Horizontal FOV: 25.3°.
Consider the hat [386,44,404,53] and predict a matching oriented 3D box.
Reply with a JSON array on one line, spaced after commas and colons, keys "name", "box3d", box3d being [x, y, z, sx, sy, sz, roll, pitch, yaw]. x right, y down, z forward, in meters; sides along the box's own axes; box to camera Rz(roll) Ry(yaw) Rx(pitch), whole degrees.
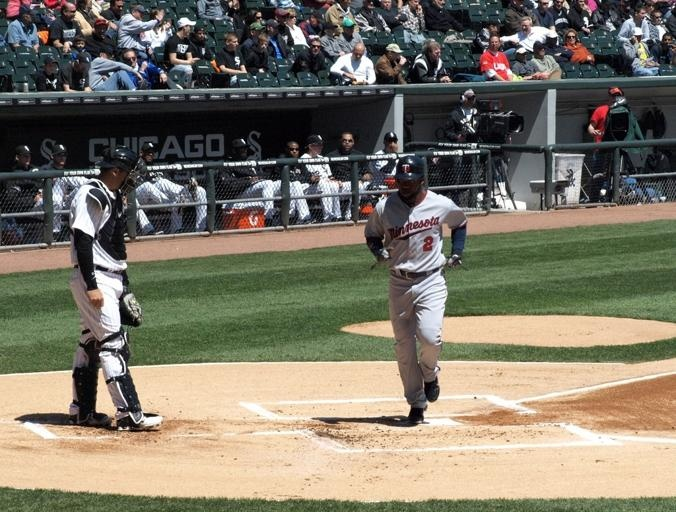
[{"name": "hat", "box3d": [0.996, -3.713, 27.028, 0.264, 0.132, 0.182, 0, 15, -3]}]

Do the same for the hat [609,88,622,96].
[{"name": "hat", "box3d": [4.915, -2.911, 26.771, 0.217, 0.133, 0.353, -1, 5, 7]}]

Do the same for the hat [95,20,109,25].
[{"name": "hat", "box3d": [-3.929, -3.850, 24.829, 0.191, 0.111, 0.193, -3, 5, -13]}]

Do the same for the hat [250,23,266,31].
[{"name": "hat", "box3d": [-1.449, -4.036, 26.556, 0.232, 0.077, 0.151, 7, 18, 40]}]

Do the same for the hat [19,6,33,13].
[{"name": "hat", "box3d": [-5.245, -4.136, 25.379, 0.122, 0.128, 0.328, 0, 5, 18]}]

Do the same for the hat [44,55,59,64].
[{"name": "hat", "box3d": [-4.765, -3.237, 24.814, 0.198, 0.144, 0.279, -3, 8, -42]}]

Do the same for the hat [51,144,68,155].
[{"name": "hat", "box3d": [-4.441, -1.664, 23.805, 0.192, 0.161, 0.257, -4, 6, -21]}]

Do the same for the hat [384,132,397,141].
[{"name": "hat", "box3d": [0.886, -2.036, 25.776, 0.210, 0.141, 0.292, -2, 5, 0]}]

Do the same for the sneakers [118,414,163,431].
[{"name": "sneakers", "box3d": [-2.092, 1.750, 15.974, 0.503, 0.224, 0.183, -4, 4, -3]}]

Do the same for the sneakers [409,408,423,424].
[{"name": "sneakers", "box3d": [0.828, 1.733, 16.202, 0.183, 0.178, 0.131, 0, 3, 20]}]

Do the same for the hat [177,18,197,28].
[{"name": "hat", "box3d": [-2.594, -4.039, 26.034, 0.371, 0.130, 0.245, -9, 15, -16]}]

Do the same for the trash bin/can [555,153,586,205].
[{"name": "trash bin/can", "box3d": [4.093, -1.399, 26.596, 0.598, 0.991, 0.597, 2, 38, 6]}]

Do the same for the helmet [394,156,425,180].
[{"name": "helmet", "box3d": [0.762, -0.940, 16.120, 0.307, 0.261, 0.227, -2, 5, -4]}]

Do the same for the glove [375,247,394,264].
[{"name": "glove", "box3d": [0.475, 0.011, 16.136, 0.168, 0.122, 0.066, -23, -26, 38]}]

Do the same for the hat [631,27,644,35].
[{"name": "hat", "box3d": [6.007, -4.500, 30.241, 0.180, 0.116, 0.228, -3, 19, -2]}]

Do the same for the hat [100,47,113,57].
[{"name": "hat", "box3d": [-3.860, -3.378, 25.008, 0.301, 0.150, 0.204, -5, 6, -34]}]

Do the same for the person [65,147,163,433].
[{"name": "person", "box3d": [-2.464, 0.364, 15.902, 0.866, 2.999, 0.535, -3, 5, -11]}]

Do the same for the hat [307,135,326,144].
[{"name": "hat", "box3d": [-0.455, -1.949, 25.557, 0.248, 0.129, 0.199, -15, -3, 40]}]

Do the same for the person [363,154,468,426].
[{"name": "person", "box3d": [0.830, 0.360, 16.292, 1.043, 2.883, 0.588, -2, 5, 1]}]

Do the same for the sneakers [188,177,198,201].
[{"name": "sneakers", "box3d": [-2.354, -1.093, 24.301, 0.089, 0.287, 0.214, 13, 37, 22]}]

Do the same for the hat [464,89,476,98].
[{"name": "hat", "box3d": [2.325, -2.915, 26.995, 0.148, 0.066, 0.168, -2, 45, 5]}]

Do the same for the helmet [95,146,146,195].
[{"name": "helmet", "box3d": [-2.345, -0.930, 16.002, 0.518, 0.461, 0.431, -9, 18, -18]}]

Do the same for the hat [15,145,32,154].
[{"name": "hat", "box3d": [-5.007, -1.658, 23.676, 0.257, 0.124, 0.201, -4, 5, 43]}]

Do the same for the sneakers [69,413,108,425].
[{"name": "sneakers", "box3d": [-2.671, 1.771, 16.068, 0.404, 0.176, 0.151, -2, 13, -5]}]

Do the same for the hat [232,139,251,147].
[{"name": "hat", "box3d": [-1.729, -1.892, 25.478, 0.283, 0.129, 0.201, -8, 5, 36]}]

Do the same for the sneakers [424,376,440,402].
[{"name": "sneakers", "box3d": [1.008, 1.462, 16.364, 0.114, 0.300, 0.136, 1, 9, 17]}]

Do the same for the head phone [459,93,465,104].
[{"name": "head phone", "box3d": [2.216, -2.827, 27.065, 0.044, 0.128, 0.097, 11, 14, 31]}]
